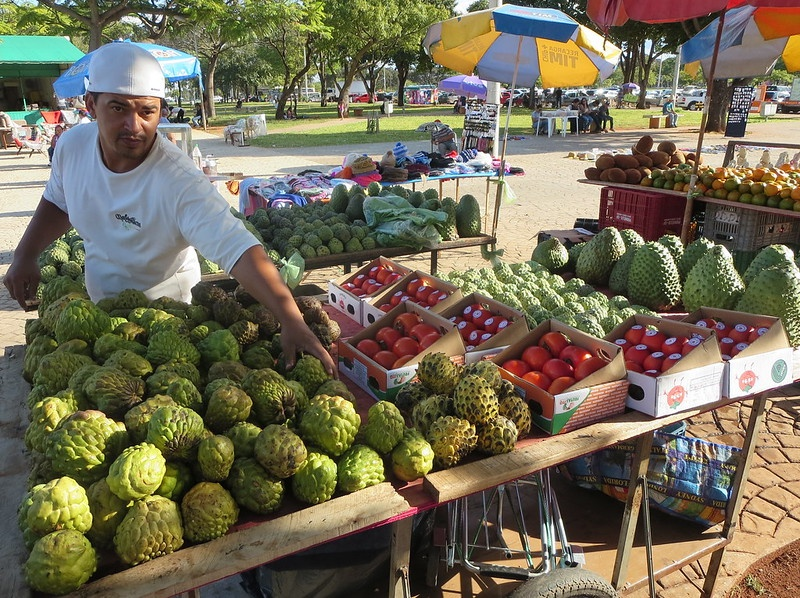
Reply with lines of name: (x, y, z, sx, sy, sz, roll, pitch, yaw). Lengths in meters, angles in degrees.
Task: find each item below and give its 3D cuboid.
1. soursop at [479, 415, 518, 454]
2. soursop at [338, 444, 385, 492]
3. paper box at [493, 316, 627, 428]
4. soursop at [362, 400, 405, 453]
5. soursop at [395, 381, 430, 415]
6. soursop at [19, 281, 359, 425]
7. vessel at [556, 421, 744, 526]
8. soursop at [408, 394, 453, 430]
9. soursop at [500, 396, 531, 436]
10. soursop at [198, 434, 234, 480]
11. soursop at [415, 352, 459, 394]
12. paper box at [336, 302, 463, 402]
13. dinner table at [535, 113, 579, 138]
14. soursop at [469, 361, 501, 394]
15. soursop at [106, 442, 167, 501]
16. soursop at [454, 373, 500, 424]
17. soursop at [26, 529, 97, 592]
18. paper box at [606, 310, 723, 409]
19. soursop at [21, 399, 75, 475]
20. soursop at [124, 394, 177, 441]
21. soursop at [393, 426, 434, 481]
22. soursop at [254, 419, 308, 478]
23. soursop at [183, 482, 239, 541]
soursop: (0.408, 0.588, 2.336, 0.158, 0.145, 0.140, 3, 55, -14)
soursop: (-0.157, 0.658, 2.114, 0.170, 0.138, 0.141, -10, 64, -33)
paper box: (0.789, 0.434, 2.669, 0.522, 0.329, 0.494, -28, 27, -13)
soursop: (-0.066, 0.525, 2.232, 0.158, 0.174, 0.198, 4, 5, -9)
soursop: (0.050, 0.453, 2.483, 0.145, 0.131, 0.123, -14, 62, -6)
soursop: (-1.021, 0.218, 2.409, 0.949, 0.344, 0.887, 1, 17, -17)
vessel: (1.612, 1.066, 3.558, 0.700, 0.420, 0.906, 0, -7, -28)
soursop: (0.141, 0.471, 2.352, 0.144, 0.157, 0.148, 6, 3, 31)
soursop: (0.505, 0.515, 2.415, 0.143, 0.172, 0.150, -4, 51, 8)
soursop: (-0.650, 0.552, 1.897, 0.138, 0.176, 0.147, 1, -6, -5)
soursop: (0.161, 0.325, 2.472, 0.185, 0.171, 0.166, 0, 11, -12)
paper box: (0.001, 0.270, 2.785, 0.522, 0.339, 0.531, -19, 38, -30)
dinner table: (8.100, -8.993, 27.786, 1.663, 0.880, 1.169, -3, 37, 0)
soursop: (0.386, 0.361, 2.463, 0.111, 0.118, 0.133, 7, -3, -1)
soursop: (-0.887, 0.594, 1.806, 0.176, 0.173, 0.105, -9, 22, -32)
soursop: (0.316, 0.426, 2.266, 0.168, 0.174, 0.190, 16, 18, -18)
soursop: (-1.070, 0.826, 1.749, 0.207, 0.179, 0.155, 10, 10, -46)
paper box: (1.322, 0.327, 2.703, 0.453, 0.326, 0.480, -12, 25, -18)
soursop: (-1.305, 0.493, 1.965, 0.127, 0.260, 0.208, 6, -13, -42)
soursop: (-0.930, 0.418, 1.991, 0.129, 0.103, 0.169, -17, 18, 50)
soursop: (0.050, 0.632, 2.199, 0.136, 0.146, 0.186, 4, 7, -5)
soursop: (-0.441, 0.551, 2.003, 0.152, 0.165, 0.196, -4, 2, -6)
soursop: (-0.651, 0.713, 1.897, 0.152, 0.170, 0.190, 17, 9, 39)
